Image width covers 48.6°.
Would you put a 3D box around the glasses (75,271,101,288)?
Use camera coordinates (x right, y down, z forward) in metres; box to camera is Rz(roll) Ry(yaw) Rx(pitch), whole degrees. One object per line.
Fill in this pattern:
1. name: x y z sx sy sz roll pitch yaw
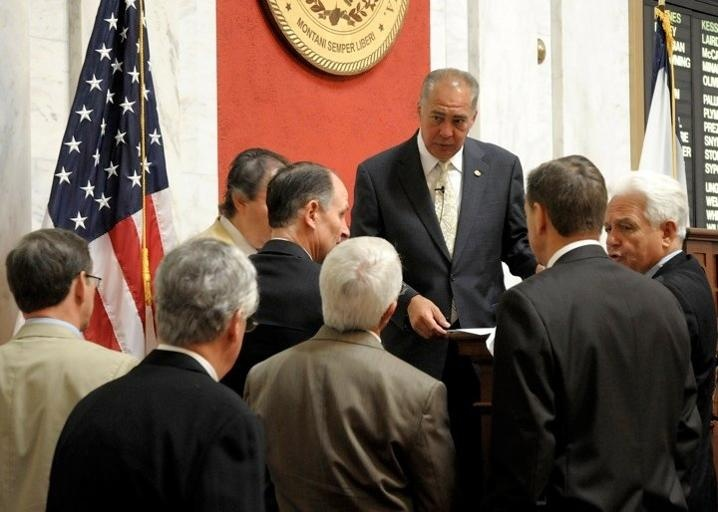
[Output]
1. glasses: -1.066 0.091 3.116 0.088 0.030 0.097 -2 -12 29
